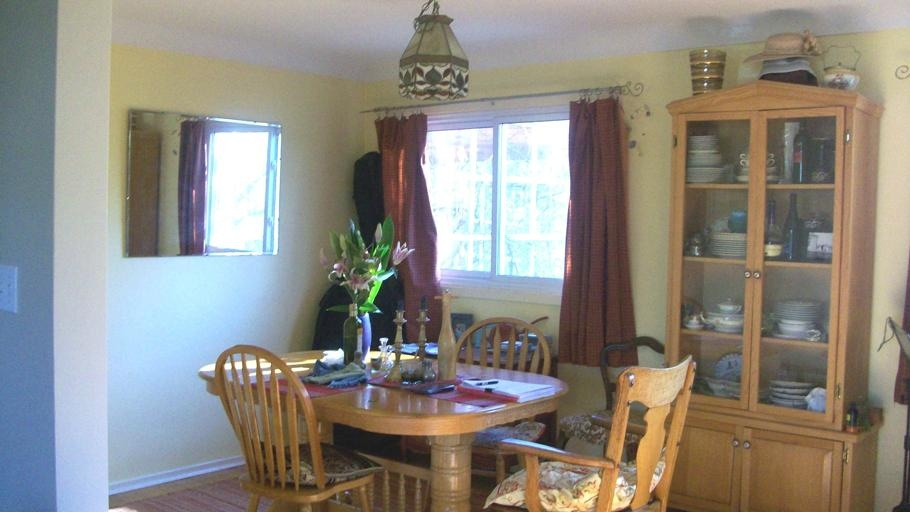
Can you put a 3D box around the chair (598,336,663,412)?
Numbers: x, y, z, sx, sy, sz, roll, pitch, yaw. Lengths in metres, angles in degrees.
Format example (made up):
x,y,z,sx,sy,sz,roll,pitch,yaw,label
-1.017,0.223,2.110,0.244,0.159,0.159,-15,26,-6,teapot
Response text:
x,y,z,sx,sy,sz,roll,pitch,yaw,label
1.301,0.896,5.333,0.546,0.833,0.568,0,-6,17,chair

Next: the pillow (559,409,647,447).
x,y,z,sx,sy,sz,roll,pitch,yaw,label
0.897,1.280,4.969,0.459,0.139,0.430,18,-8,-36,pillow

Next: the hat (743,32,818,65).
x,y,z,sx,sy,sz,roll,pitch,yaw,label
2.222,-1.397,4.581,0.297,0.102,0.248,1,10,22,hat

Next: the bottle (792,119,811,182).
x,y,z,sx,sy,sz,roll,pitch,yaw,label
2.288,-0.684,4.510,0.101,0.383,0.022,1,5,22,bottle

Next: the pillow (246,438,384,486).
x,y,z,sx,sy,sz,roll,pitch,yaw,label
-0.764,1.253,4.080,0.446,0.071,0.303,2,2,17,pillow

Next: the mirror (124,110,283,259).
x,y,z,sx,sy,sz,roll,pitch,yaw,label
-2.082,-0.538,5.484,1.441,1.117,0.027,2,2,10,mirror

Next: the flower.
x,y,z,sx,sy,sz,roll,pitch,yaw,label
-0.615,0.062,4.497,0.395,0.633,0.236,-2,4,-10,flower

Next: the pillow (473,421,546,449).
x,y,z,sx,sy,sz,roll,pitch,yaw,label
0.368,1.198,4.601,0.372,0.070,0.219,-11,0,-13,pillow
